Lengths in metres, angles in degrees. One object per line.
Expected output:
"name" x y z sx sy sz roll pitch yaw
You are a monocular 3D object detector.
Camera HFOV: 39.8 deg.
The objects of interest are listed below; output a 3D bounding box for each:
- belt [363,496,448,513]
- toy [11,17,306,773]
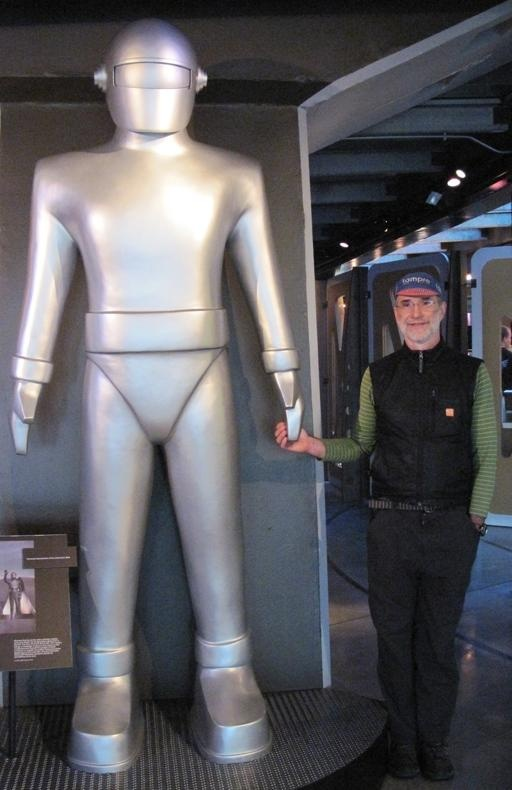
"belt" 0.391 0.298 1.891 0.202 0.039 0.073 0 -1 23
"toy" -0.218 0.009 1.564 0.643 1.216 0.256 1 0 2
